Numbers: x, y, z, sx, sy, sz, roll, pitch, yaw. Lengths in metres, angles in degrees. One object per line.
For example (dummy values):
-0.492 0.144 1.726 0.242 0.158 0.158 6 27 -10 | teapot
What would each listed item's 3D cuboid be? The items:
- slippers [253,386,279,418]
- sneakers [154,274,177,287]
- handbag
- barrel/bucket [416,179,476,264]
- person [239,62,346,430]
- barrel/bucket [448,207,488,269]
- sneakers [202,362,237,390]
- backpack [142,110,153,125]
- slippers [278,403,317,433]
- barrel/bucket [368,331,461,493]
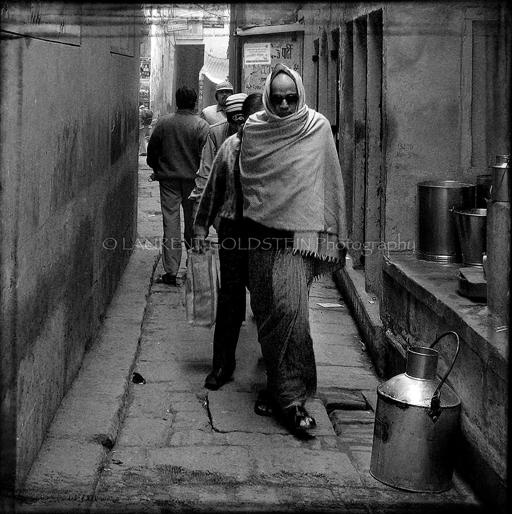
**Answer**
0.064 0.833 3.882 0.103 0.170 0.341 1 -11 -2 | slippers
-0.921 0.222 7.026 0.094 0.154 0.305 4 -10 -22 | sneakers
-0.337 0.188 4.365 0.204 0.641 0.563 1 2 1 | handbag
1.272 -0.248 4.701 0.373 0.590 0.473 0 6 1 | barrel/bucket
0.213 -0.074 3.718 0.594 1.942 0.587 -4 8 5 | person
1.342 -0.162 4.276 0.256 0.373 0.333 -3 7 -4 | barrel/bucket
-0.237 0.757 4.296 0.082 0.137 0.275 0 -2 20 | sneakers
-3.301 -4.282 20.496 0.264 0.583 0.516 1 15 1 | backpack
0.224 0.853 3.639 0.085 0.136 0.274 -1 4 -11 | slippers
0.748 0.632 3.100 0.309 0.758 0.370 5 13 12 | barrel/bucket
